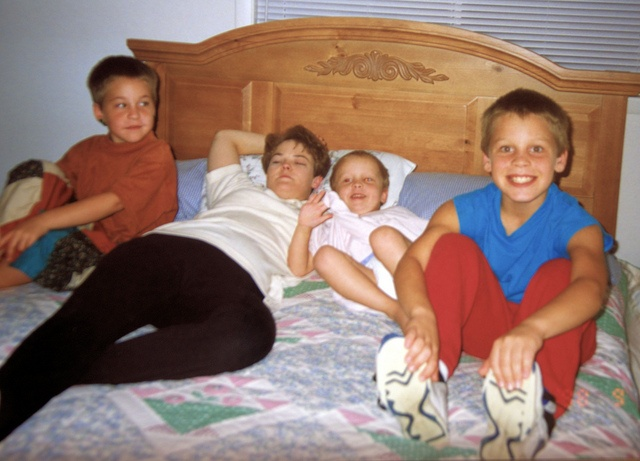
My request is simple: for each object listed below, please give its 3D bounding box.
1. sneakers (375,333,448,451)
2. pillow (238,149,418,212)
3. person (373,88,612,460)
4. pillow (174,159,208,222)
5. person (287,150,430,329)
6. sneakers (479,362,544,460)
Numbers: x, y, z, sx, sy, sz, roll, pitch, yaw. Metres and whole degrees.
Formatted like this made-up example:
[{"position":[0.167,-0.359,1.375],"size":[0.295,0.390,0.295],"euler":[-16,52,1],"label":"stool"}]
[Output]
[{"position":[0.218,0.400,1.306],"size":[0.127,0.293,0.130],"euler":[-15,-19,1],"label":"sneakers"},{"position":[0.058,-0.275,2.283],"size":[0.571,0.116,0.367],"euler":[6,27,8],"label":"pillow"},{"position":[0.480,-0.029,1.540],"size":[0.565,0.754,1.113],"euler":[5,28,19],"label":"person"},{"position":[-0.584,-0.181,2.366],"size":[0.202,0.279,0.065],"euler":[-7,-29,20],"label":"pillow"},{"position":[0.169,0.006,1.876],"size":[0.563,0.747,0.654],"euler":[-4,-6,1],"label":"person"},{"position":[0.477,0.408,1.219],"size":[0.132,0.240,0.073],"euler":[1,-1,21],"label":"sneakers"}]
